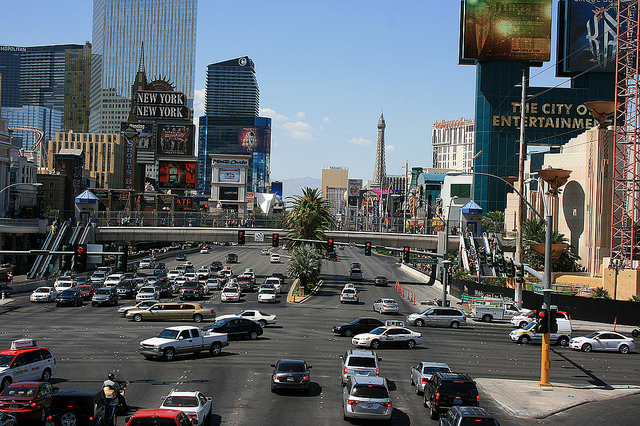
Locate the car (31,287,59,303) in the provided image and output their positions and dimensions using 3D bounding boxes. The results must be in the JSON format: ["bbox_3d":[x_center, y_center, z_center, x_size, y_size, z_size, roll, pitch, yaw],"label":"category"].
[{"bbox_3d":[-33.527,9.999,100.356,1.685,1.906,3.061,0,0,31],"label":"car"}]

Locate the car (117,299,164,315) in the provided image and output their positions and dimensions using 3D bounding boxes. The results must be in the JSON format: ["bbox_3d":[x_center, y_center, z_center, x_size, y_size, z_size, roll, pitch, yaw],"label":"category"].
[{"bbox_3d":[-20.402,10.616,91.573,4.117,1.287,1.830,2,-5,-10],"label":"car"}]

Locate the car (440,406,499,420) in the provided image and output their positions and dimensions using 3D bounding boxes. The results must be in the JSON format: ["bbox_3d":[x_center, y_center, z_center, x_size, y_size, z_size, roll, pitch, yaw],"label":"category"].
[{"bbox_3d":[11.548,15.697,64.026,3.628,0.850,1.867,0,0,8],"label":"car"}]

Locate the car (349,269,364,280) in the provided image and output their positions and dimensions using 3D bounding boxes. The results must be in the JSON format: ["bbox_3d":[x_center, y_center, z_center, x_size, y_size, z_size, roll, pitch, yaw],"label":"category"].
[{"bbox_3d":[5.707,9.697,128.774,1.642,1.161,2.363,1,4,1],"label":"car"}]

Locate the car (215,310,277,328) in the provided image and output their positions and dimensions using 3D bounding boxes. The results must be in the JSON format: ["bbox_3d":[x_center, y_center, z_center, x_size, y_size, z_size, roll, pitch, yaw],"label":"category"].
[{"bbox_3d":[-7.348,11.802,88.096,5.232,1.561,2.474,4,-7,-8],"label":"car"}]

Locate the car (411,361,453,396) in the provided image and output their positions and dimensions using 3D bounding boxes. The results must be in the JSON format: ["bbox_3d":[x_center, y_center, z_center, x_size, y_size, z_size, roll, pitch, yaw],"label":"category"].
[{"bbox_3d":[10.049,14.514,72.815,3.404,2.591,7.939,1,-2,0],"label":"car"}]

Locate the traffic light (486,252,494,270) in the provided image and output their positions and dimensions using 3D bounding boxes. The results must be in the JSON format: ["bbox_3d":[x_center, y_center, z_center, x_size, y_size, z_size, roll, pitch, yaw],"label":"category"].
[{"bbox_3d":[16.881,4.632,81.252,0.442,1.173,1.239,-3,5,17],"label":"traffic light"}]

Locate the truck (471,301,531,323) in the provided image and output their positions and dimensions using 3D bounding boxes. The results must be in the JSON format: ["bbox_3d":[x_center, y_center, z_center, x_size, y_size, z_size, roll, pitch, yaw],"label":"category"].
[{"bbox_3d":[20.565,11.870,96.233,4.905,1.709,2.842,-1,-2,3],"label":"truck"}]

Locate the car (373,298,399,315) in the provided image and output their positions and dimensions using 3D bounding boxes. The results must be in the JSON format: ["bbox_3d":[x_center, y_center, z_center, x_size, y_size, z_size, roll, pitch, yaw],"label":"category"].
[{"bbox_3d":[7.983,11.130,97.879,1.933,1.643,2.671,1,0,-22],"label":"car"}]

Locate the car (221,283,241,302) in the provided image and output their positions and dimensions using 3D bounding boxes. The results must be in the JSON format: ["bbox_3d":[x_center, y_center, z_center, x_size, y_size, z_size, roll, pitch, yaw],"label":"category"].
[{"bbox_3d":[-10.985,9.960,101.816,1.987,2.030,1.946,1,0,0],"label":"car"}]

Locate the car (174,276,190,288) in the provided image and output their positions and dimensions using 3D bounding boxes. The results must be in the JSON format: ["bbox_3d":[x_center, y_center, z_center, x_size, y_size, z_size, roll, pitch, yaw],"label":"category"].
[{"bbox_3d":[-18.101,8.893,107.874,1.694,1.288,2.640,1,0,-12],"label":"car"}]

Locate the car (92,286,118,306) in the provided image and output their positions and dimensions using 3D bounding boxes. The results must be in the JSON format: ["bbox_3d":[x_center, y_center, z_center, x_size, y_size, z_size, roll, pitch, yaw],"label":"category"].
[{"bbox_3d":[-25.652,10.065,98.832,1.461,2.289,3.094,0,0,36],"label":"car"}]

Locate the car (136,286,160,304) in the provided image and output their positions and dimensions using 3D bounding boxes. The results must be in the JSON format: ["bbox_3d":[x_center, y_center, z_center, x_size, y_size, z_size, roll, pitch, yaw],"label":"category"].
[{"bbox_3d":[-20.319,9.631,97.862,1.618,1.339,2.755,-1,-10,-2],"label":"car"}]

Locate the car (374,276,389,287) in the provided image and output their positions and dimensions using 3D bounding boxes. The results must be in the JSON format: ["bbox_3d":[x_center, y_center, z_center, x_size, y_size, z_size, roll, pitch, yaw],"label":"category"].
[{"bbox_3d":[9.213,10.301,123.576,1.967,1.281,2.782,1,0,5],"label":"car"}]

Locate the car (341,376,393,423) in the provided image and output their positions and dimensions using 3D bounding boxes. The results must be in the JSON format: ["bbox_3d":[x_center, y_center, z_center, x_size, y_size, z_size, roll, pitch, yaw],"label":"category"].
[{"bbox_3d":[3.954,15.118,67.872,3.597,2.804,6.512,0,-1,2],"label":"car"}]

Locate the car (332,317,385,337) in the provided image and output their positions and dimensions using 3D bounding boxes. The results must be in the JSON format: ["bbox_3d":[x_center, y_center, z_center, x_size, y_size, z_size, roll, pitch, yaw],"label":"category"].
[{"bbox_3d":[3.923,11.912,86.066,4.673,1.532,2.116,1,-3,-9],"label":"car"}]

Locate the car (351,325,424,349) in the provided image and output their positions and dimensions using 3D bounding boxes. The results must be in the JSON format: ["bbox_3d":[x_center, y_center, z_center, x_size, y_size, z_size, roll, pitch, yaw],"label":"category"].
[{"bbox_3d":[6.986,12.563,82.600,6.347,2.020,2.699,2,-4,-4],"label":"car"}]

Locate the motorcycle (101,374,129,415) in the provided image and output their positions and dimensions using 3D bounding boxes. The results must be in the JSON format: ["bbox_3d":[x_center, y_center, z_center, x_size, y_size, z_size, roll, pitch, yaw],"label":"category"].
[{"bbox_3d":[-16.932,14.765,67.016,1.412,1.985,2.944,0,2,4],"label":"motorcycle"}]

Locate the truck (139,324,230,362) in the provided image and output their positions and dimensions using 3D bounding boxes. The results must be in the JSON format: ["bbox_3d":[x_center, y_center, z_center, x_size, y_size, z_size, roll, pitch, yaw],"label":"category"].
[{"bbox_3d":[-13.105,12.332,77.526,6.616,2.284,3.384,4,-6,-37],"label":"truck"}]

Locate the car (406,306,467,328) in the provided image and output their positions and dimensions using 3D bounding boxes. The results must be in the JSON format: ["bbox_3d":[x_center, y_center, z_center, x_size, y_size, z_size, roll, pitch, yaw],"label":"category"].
[{"bbox_3d":[13.161,11.840,92.945,5.815,1.874,2.640,3,-4,-4],"label":"car"}]

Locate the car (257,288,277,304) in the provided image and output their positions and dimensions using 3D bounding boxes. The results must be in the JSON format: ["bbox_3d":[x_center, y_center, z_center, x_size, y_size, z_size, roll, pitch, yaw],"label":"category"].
[{"bbox_3d":[-6.653,10.371,102.632,2.090,1.716,2.060,1,0,-7],"label":"car"}]

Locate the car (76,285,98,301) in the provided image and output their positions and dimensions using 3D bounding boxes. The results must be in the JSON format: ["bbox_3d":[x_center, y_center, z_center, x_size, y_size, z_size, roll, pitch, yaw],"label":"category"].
[{"bbox_3d":[-28.879,9.803,101.545,1.570,1.256,2.828,0,-8,-8],"label":"car"}]

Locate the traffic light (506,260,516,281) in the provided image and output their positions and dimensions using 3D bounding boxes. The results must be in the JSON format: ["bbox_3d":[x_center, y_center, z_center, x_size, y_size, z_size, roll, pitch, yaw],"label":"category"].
[{"bbox_3d":[18.511,5.430,79.330,0.558,1.500,1.117,2,0,-9],"label":"traffic light"}]

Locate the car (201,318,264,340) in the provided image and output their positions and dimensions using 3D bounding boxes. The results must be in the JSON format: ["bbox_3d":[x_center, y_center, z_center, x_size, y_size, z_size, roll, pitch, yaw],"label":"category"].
[{"bbox_3d":[-8.394,11.704,83.280,4.596,1.568,2.447,5,-5,-15],"label":"car"}]

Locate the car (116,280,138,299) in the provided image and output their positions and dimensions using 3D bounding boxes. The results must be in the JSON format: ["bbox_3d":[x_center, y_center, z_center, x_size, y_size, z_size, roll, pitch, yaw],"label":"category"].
[{"bbox_3d":[-24.323,9.662,103.785,1.377,2.243,3.093,0,0,32],"label":"car"}]

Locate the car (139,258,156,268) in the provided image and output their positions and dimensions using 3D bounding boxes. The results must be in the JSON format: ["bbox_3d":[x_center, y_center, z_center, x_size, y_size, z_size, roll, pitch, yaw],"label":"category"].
[{"bbox_3d":[-28.265,8.241,135.085,2.161,1.494,2.912,1,0,-9],"label":"car"}]

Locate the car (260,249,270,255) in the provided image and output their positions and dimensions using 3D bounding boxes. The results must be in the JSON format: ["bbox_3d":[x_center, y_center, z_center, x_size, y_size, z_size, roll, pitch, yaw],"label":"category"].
[{"bbox_3d":[-11.303,8.182,171.196,1.705,0.967,3.674,1,0,-4],"label":"car"}]

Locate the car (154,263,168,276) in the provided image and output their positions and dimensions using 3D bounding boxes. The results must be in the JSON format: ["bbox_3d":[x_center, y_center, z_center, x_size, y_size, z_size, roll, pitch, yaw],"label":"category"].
[{"bbox_3d":[-22.882,8.266,118.430,1.400,1.478,2.662,0,-8,-7],"label":"car"}]

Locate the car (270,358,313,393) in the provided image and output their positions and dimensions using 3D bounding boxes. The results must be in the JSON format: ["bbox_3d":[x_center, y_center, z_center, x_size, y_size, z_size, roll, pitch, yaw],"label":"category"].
[{"bbox_3d":[-2.634,14.334,73.393,3.542,2.475,7.623,3,-2,-1],"label":"car"}]

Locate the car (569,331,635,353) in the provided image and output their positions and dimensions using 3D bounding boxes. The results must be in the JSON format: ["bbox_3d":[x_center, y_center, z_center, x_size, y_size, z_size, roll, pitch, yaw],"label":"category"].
[{"bbox_3d":[29.088,13.353,84.572,5.597,1.801,2.511,2,-4,5],"label":"car"}]

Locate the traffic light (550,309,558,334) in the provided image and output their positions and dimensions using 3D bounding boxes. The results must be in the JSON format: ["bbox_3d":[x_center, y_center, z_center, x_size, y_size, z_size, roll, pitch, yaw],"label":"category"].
[{"bbox_3d":[20.891,9.679,73.557,0.503,1.756,1.068,0,0,25],"label":"traffic light"}]

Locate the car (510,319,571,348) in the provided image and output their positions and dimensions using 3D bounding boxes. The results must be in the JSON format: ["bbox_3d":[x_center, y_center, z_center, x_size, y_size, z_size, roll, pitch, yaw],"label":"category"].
[{"bbox_3d":[23.297,13.035,86.784,5.805,2.908,3.474,2,-6,2],"label":"car"}]

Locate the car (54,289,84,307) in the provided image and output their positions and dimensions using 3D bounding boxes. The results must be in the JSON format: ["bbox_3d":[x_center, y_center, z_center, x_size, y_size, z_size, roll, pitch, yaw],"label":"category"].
[{"bbox_3d":[-29.782,10.134,98.123,1.706,2.088,2.925,0,0,26],"label":"car"}]

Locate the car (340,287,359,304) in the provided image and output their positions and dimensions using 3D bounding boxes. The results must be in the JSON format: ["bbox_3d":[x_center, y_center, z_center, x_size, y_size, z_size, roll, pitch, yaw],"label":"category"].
[{"bbox_3d":[3.729,10.586,104.882,1.960,1.750,1.521,1,0,-2],"label":"car"}]
